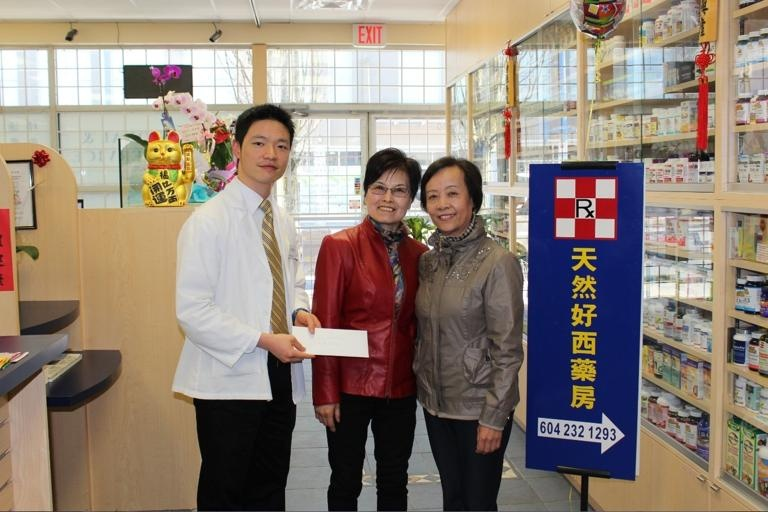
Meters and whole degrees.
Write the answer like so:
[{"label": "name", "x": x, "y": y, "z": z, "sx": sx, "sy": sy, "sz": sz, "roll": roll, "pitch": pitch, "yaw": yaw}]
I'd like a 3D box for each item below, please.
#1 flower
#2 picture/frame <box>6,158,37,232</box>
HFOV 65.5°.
[{"label": "flower", "x": -1.305, "y": -0.818, "z": 3.936, "sx": 0.444, "sy": 0.885, "sz": 0.298, "roll": -13, "pitch": 7, "yaw": 32}, {"label": "picture/frame", "x": -2.238, "y": -0.381, "z": 3.712, "sx": 0.163, "sy": 0.433, "sz": 0.076, "roll": -1, "pitch": 10, "yaw": 6}]
